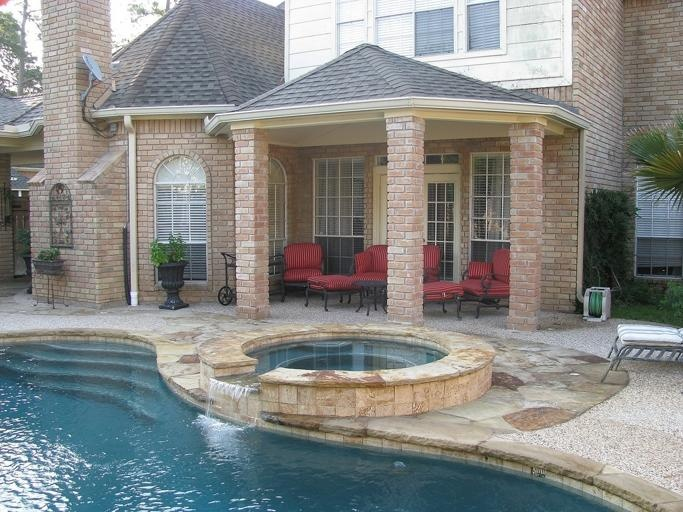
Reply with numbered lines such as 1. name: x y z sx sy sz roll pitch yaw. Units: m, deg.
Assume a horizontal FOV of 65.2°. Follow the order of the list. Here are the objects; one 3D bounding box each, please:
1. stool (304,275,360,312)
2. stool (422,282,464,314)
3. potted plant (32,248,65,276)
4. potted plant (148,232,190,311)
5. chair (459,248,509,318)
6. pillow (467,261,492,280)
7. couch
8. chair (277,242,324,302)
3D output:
1. stool: -0.198 0.824 11.724 1.238 0.688 1.063 0 5 -27
2. stool: 1.982 0.807 10.610 0.845 0.502 0.804 0 0 6
3. potted plant: -6.539 0.155 12.337 1.051 0.689 0.651 1 1 35
4. potted plant: -3.720 0.378 11.803 0.971 1.499 0.753 5 5 0
5. chair: 2.985 0.568 11.195 0.932 1.371 1.741 -1 10 15
6. pillow: 2.914 0.333 11.410 0.461 0.352 0.114 0 -3 16
7. couch: 1.146 0.073 11.792 2.472 1.210 1.116 0 0 13
8. chair: -1.008 0.343 12.943 1.049 1.221 1.127 -2 6 -42
